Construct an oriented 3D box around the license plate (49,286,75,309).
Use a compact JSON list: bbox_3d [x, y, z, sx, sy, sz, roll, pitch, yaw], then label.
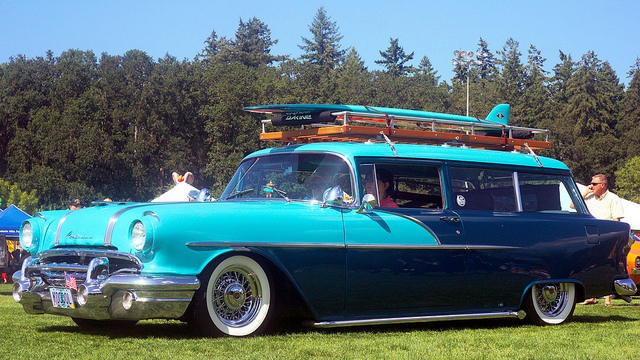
[{"bbox_3d":[-3.994,1.821,10.840,0.504,0.324,0.028,-4,2,32],"label":"license plate"}]
